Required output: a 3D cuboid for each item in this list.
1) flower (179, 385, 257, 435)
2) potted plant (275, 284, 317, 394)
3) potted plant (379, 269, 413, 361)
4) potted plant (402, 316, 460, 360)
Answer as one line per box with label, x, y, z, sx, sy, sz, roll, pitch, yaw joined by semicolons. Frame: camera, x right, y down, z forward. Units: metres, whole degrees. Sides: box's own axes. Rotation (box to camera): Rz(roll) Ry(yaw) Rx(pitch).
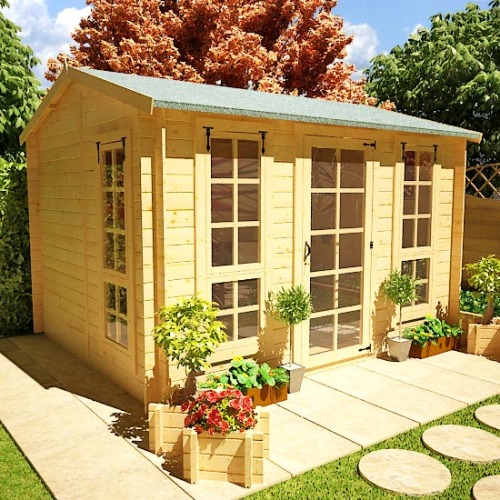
flower;-0.248;1.386;4.351;0.498;0.253;0.498;17;39;14
potted plant;0.495;1.007;6.010;0.403;1.181;0.640;0;8;5
potted plant;2.067;0.889;7.163;0.400;1.197;0.583;6;10;41
potted plant;2.566;1.230;7.338;0.768;0.221;0.521;-6;8;-40
